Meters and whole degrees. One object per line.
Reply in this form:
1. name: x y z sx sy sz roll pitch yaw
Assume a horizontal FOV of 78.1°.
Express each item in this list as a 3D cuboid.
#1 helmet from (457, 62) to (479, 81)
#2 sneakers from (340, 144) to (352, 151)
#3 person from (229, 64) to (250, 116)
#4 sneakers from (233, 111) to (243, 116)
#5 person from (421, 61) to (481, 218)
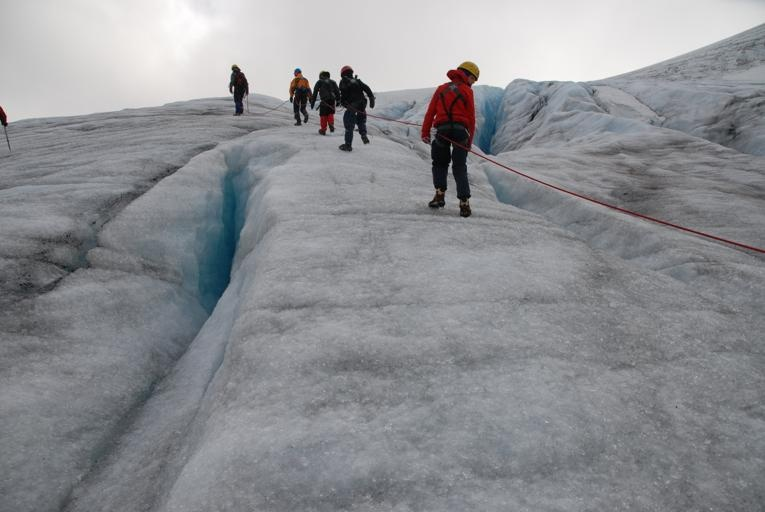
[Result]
1. helmet: 0.939 -1.923 4.917 0.221 0.176 0.324 -6 26 -12
2. sneakers: -0.553 -1.615 7.010 0.181 0.087 0.216 -2 25 -6
3. person: -3.111 -3.591 10.195 0.325 1.023 1.103 -7 26 -15
4. sneakers: -3.110 -3.089 10.166 0.108 0.103 0.253 -3 29 -11
5. person: 0.723 -1.254 5.075 0.589 1.582 0.780 3 26 6
